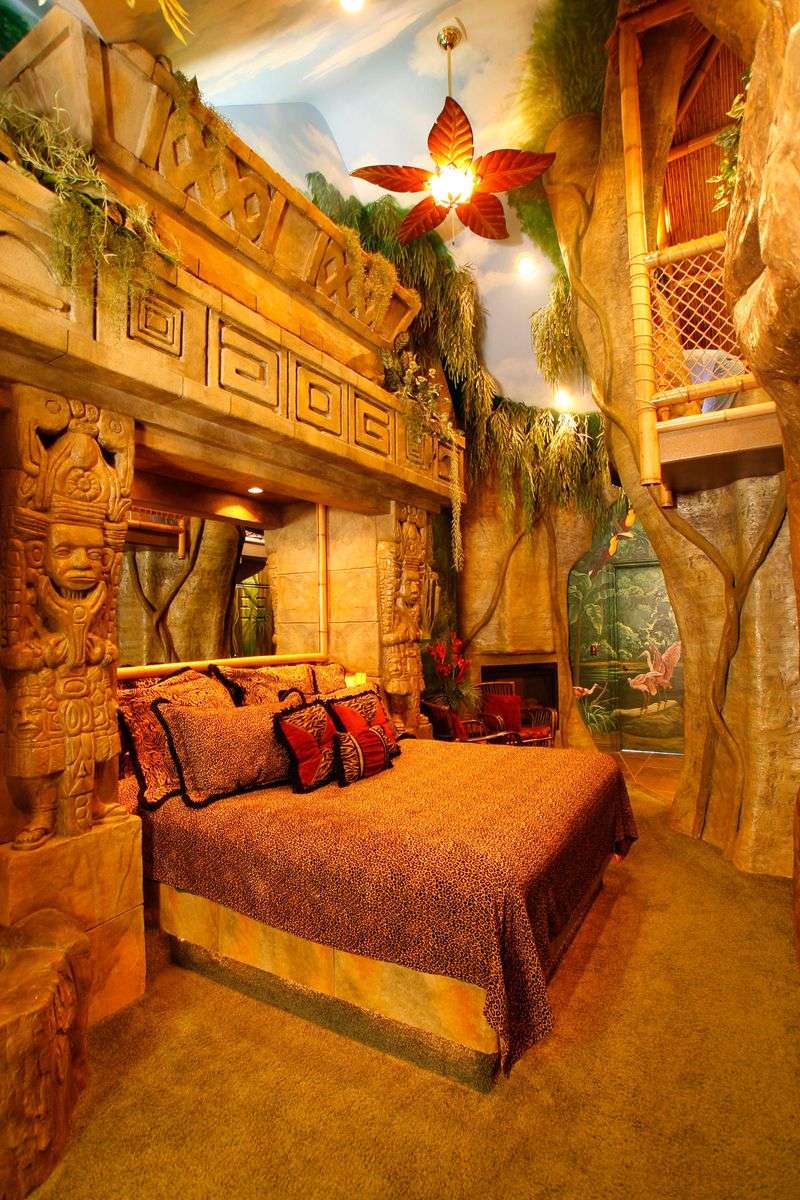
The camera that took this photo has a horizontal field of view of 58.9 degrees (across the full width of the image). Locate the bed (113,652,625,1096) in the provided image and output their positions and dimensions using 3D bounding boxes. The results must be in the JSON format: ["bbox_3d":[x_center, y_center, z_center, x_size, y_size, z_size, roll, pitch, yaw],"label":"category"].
[{"bbox_3d":[-0.041,0.930,3.344,1.783,1.298,1.975,-1,-1,27],"label":"bed"}]

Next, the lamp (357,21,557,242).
[{"bbox_3d":[0.399,-3.040,4.952,0.834,0.956,0.948,-5,-40,7],"label":"lamp"}]
